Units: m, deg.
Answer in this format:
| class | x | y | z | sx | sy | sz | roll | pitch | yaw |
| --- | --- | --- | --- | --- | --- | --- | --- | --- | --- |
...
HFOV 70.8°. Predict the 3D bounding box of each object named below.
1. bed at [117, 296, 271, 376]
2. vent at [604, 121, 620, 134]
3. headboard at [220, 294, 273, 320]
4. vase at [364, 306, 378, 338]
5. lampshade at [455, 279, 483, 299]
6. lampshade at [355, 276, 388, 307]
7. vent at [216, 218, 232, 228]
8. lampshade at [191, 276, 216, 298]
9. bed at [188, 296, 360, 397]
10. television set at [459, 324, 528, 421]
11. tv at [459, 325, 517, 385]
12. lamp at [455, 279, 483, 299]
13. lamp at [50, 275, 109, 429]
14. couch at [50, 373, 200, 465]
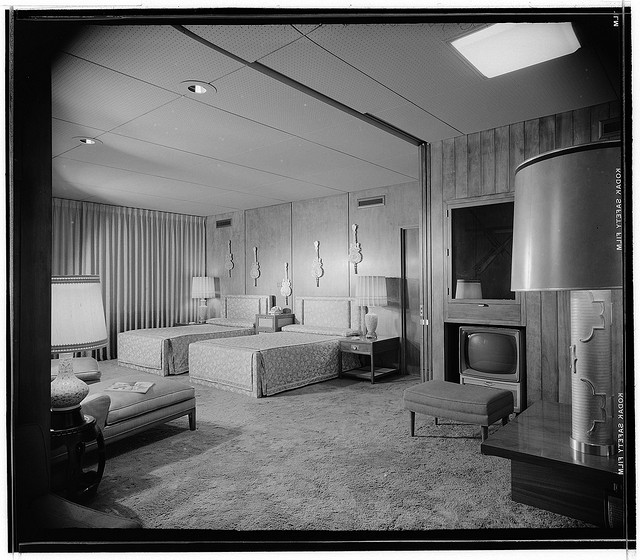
| class | x | y | z | sx | sy | sz | roll | pitch | yaw |
| --- | --- | --- | --- | --- | --- | --- | --- | --- | --- |
| bed | -1.794 | 0.811 | 6.695 | 1.137 | 0.934 | 1.725 | 1 | 1 | 39 |
| vent | 2.102 | -1.108 | 3.271 | 0.087 | 0.080 | 0.043 | 0 | 2 | 21 |
| headboard | -1.309 | 0.453 | 7.691 | 1.270 | 0.433 | 0.118 | 1 | 2 | 37 |
| vase | 0.644 | 0.542 | 5.851 | 0.166 | 0.374 | 0.572 | 0 | 1 | 6 |
| lampshade | 1.300 | 0.071 | 3.979 | 0.139 | 0.201 | 0.197 | 0 | 0 | 19 |
| lampshade | 0.626 | 0.116 | 5.746 | 0.340 | 0.319 | 0.349 | 6 | 5 | 38 |
| vent | -1.742 | -1.024 | 8.102 | 0.431 | 0.135 | 0.026 | 1 | 2 | 40 |
| lampshade | -2.072 | 0.137 | 8.003 | 0.337 | 0.380 | 0.350 | -2 | -3 | 31 |
| bed | -0.715 | 0.732 | 5.981 | 1.990 | 0.960 | 2.067 | 1 | 2 | 44 |
| television set | 1.527 | 0.810 | 3.987 | 0.508 | 0.794 | 0.405 | -1 | -4 | 37 |
| tv | 1.497 | 0.576 | 3.980 | 0.508 | 0.518 | 0.379 | 3 | 21 | 31 |
| lamp | 1.300 | 0.075 | 3.978 | 0.192 | 0.207 | 0.144 | 3 | 4 | 44 |
| lamp | -1.356 | 0.371 | 2.553 | 0.276 | 0.835 | 0.340 | 3 | 1 | -19 |
| couch | -1.365 | 0.921 | 3.298 | 0.541 | 0.427 | 0.757 | 0 | 2 | 33 |
